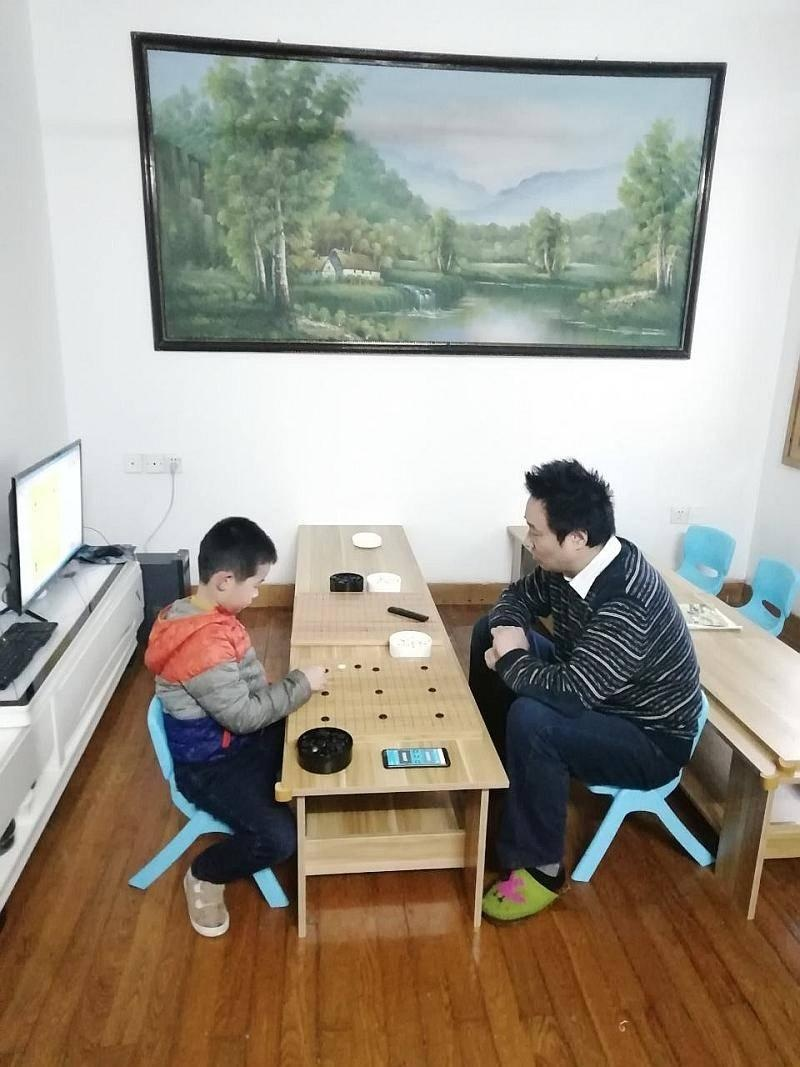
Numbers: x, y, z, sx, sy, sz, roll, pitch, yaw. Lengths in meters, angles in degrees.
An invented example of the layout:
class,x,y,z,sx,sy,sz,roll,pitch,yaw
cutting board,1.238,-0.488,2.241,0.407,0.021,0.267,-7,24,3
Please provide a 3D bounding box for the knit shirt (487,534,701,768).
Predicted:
class,x,y,z,sx,sy,sz,roll,pitch,yaw
knit shirt,0.465,0.202,1.721,0.429,0.488,0.559,1,18,-6

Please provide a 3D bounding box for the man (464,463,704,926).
class,x,y,z,sx,sy,sz,roll,pitch,yaw
man,0.471,0.430,1.796,0.597,1.288,0.728,-1,22,-1

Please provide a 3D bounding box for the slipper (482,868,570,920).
class,x,y,z,sx,sy,sz,roll,pitch,yaw
slipper,0.275,0.810,1.567,0.165,0.079,0.090,-13,25,-20

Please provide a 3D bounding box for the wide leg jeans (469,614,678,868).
class,x,y,z,sx,sy,sz,roll,pitch,yaw
wide leg jeans,0.406,0.620,1.728,0.402,0.353,0.613,-6,23,-9

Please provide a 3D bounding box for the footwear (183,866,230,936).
class,x,y,z,sx,sy,sz,roll,pitch,yaw
footwear,-0.421,0.813,1.552,0.054,0.118,0.183,-1,31,-8

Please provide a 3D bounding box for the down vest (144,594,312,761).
class,x,y,z,sx,sy,sz,roll,pitch,yaw
down vest,-0.387,0.292,1.611,0.315,0.374,0.375,-17,25,-15

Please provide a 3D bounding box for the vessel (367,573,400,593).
class,x,y,z,sx,sy,sz,roll,pitch,yaw
vessel,-0.056,0.171,2.364,0.067,0.035,0.075,6,16,16
